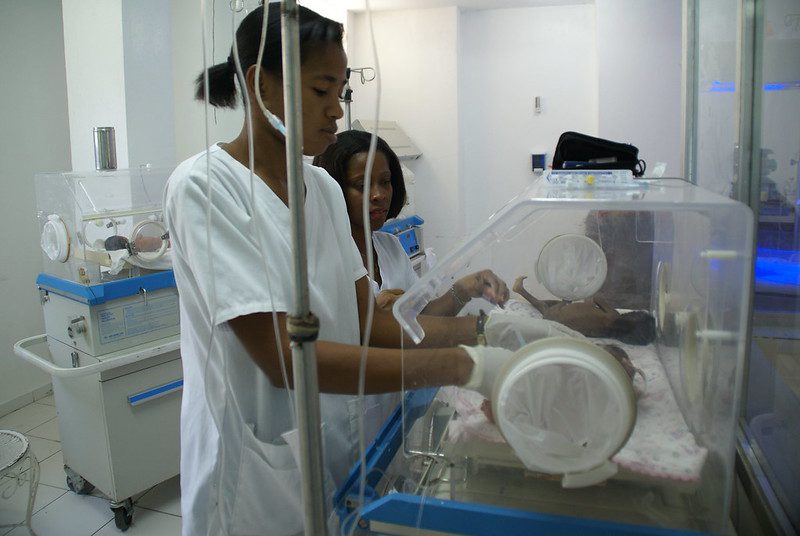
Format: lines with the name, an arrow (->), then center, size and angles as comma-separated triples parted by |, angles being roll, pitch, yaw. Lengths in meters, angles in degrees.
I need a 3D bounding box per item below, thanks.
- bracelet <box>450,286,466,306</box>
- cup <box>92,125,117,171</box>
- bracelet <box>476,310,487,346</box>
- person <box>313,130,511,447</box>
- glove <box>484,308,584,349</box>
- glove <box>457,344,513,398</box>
bracelet -> 0.127, 0.058, 1.370 | 0.030, 0.029, 0.037 | -41, 32, 15
cup -> -1.319, -0.531, 2.772 | 0.093, 0.194, 0.118 | -9, 13, -26
bracelet -> 0.179, 0.131, 1.363 | 0.017, 0.056, 0.040 | -2, -8, 4
person -> -0.015, 0.223, 2.430 | 0.734, 1.412, 0.658 | -8, 12, -29
glove -> 0.292, 0.130, 1.370 | 0.219, 0.087, 0.038 | -5, 11, -5
glove -> 0.188, 0.222, 1.351 | 0.099, 0.109, 0.106 | 2, -5, -20
